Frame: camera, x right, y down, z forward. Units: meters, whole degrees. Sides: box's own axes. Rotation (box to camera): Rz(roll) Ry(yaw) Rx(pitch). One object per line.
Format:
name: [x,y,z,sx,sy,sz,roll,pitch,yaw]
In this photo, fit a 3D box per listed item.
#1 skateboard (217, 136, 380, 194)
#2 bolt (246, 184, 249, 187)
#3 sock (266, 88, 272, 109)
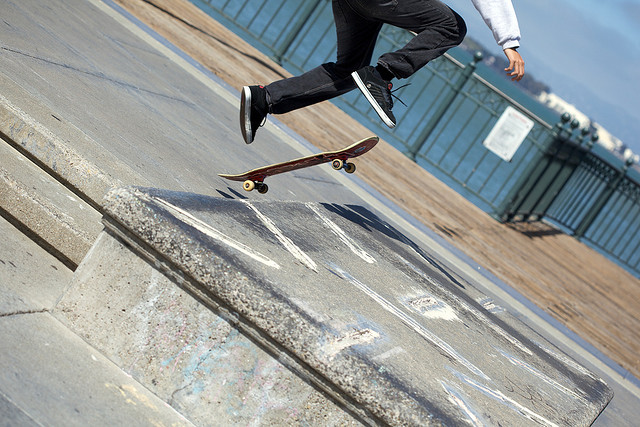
skateboard: [-0.249,-0.476,11.142,0.329,1.422,0.197,89,-14,-72]
bolt: [-0.644,-0.249,9.926,0.017,0.024,0.031,43,12,18]
sock: [-0.462,-1.032,10.101,0.021,0.037,0.144,-85,165,-78]
